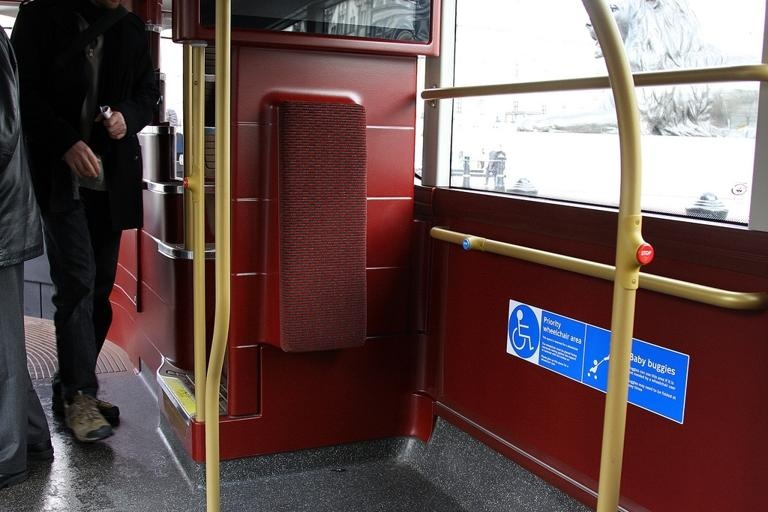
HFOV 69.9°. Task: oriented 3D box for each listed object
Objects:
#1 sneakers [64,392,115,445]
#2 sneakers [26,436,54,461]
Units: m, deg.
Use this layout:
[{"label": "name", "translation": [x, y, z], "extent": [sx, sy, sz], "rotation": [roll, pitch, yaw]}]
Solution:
[{"label": "sneakers", "translation": [-1.519, 0.812, 2.828], "extent": [0.398, 0.155, 0.160], "rotation": [16, 14, 42]}, {"label": "sneakers", "translation": [-1.555, 0.889, 2.521], "extent": [0.128, 0.090, 0.060], "rotation": [4, 2, -16]}]
